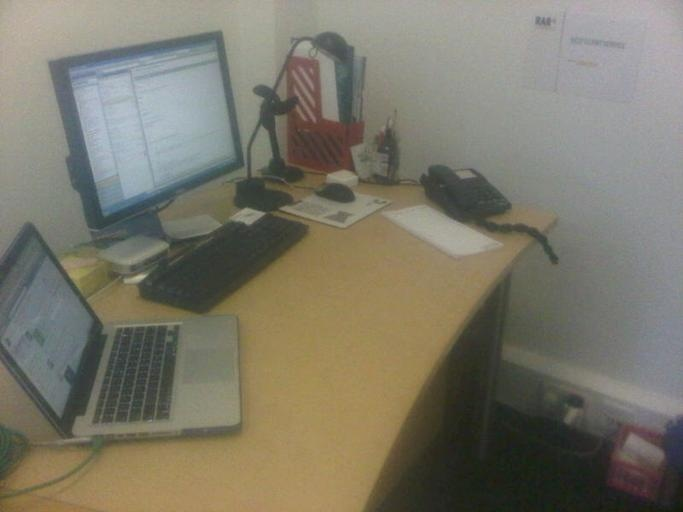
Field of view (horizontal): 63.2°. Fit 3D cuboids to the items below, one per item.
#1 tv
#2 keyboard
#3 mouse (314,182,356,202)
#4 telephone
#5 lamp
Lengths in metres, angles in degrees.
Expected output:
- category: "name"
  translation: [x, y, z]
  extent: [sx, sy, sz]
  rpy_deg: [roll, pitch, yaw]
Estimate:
- category: "tv"
  translation: [-0.528, -0.288, 1.588]
  extent: [0.183, 0.598, 0.589]
  rpy_deg: [14, 30, 25]
- category: "keyboard"
  translation: [-0.302, -0.044, 1.478]
  extent: [0.186, 0.043, 0.400]
  rpy_deg: [16, 33, 20]
- category: "mouse"
  translation: [-0.013, -0.227, 1.866]
  extent: [0.105, 0.038, 0.067]
  rpy_deg: [15, 31, 14]
- category: "telephone"
  translation: [0.403, -0.219, 1.805]
  extent: [0.177, 0.093, 0.235]
  rpy_deg: [-25, 52, -23]
- category: "lamp"
  translation: [-0.160, -0.460, 1.885]
  extent: [0.342, 0.557, 0.507]
  rpy_deg: [3, 24, 6]
